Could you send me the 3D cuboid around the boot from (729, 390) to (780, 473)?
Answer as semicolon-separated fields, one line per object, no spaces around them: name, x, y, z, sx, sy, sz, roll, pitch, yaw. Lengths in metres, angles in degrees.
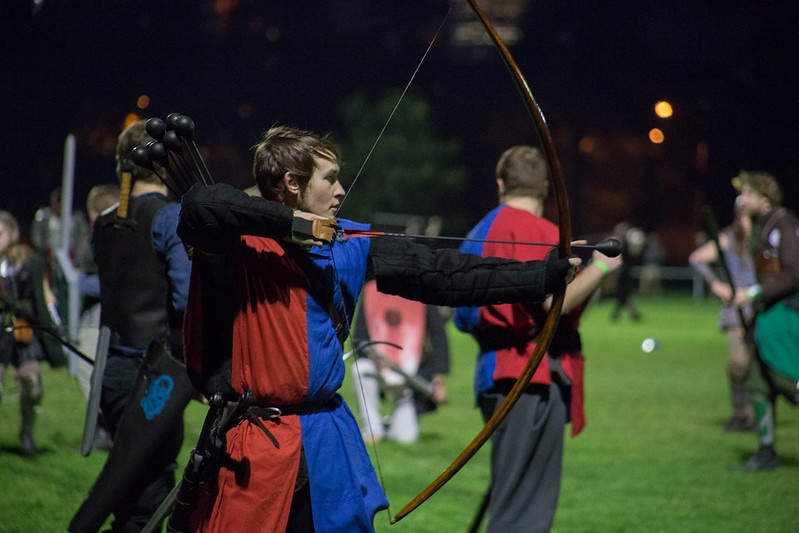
boot;4.564;2.040;14.236;0.826;1.263;0.374;24;-25;-37

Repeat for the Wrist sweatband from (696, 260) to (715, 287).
Wrist sweatband;4.516;0.087;16.529;0.154;0.209;0.383;-8;42;-22

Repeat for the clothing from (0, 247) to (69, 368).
clothing;-4.511;0.547;13.995;0.869;1.610;0.381;-8;-2;-26
